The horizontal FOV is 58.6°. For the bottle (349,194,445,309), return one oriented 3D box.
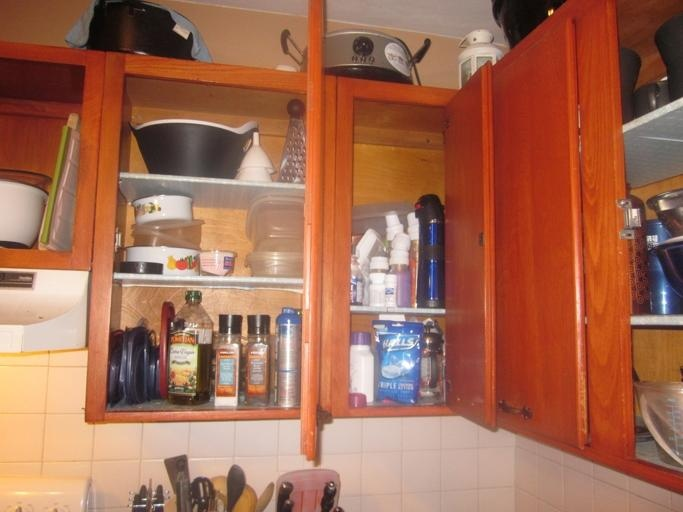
[{"bbox_3d":[0.178,-0.002,1.918,0.351,0.328,0.113,0,-10,3],"label":"bottle"}]

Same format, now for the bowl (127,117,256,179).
[{"bbox_3d":[-0.441,-0.321,1.812,0.261,0.119,0.221,3,2,-6],"label":"bowl"}]

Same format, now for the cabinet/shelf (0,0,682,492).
[{"bbox_3d":[-0.035,-0.035,1.825,1.683,1.132,0.670,-1,-6,10],"label":"cabinet/shelf"}]

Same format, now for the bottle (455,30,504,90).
[{"bbox_3d":[0.455,-0.639,2.003,0.130,0.189,0.135,-6,4,0],"label":"bottle"}]

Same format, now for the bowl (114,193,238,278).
[{"bbox_3d":[-0.490,-0.049,1.810,0.304,0.194,0.214,3,-9,-35],"label":"bowl"}]
